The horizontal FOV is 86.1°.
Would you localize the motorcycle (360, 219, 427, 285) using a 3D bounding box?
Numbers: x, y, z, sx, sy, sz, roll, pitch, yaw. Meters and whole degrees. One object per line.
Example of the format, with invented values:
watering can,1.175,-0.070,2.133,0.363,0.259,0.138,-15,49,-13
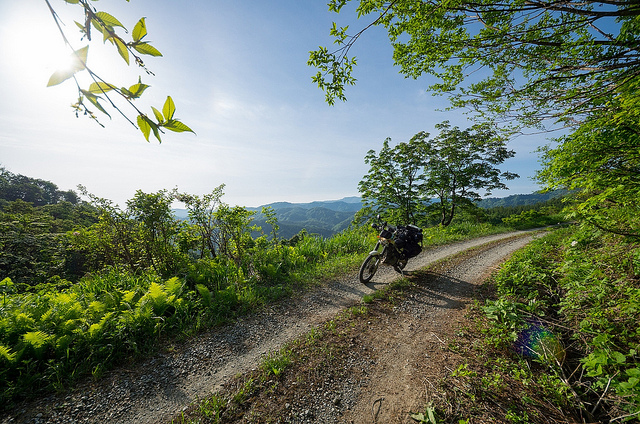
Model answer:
motorcycle,2.330,1.187,11.140,1.345,1.842,3.040,23,18,40
